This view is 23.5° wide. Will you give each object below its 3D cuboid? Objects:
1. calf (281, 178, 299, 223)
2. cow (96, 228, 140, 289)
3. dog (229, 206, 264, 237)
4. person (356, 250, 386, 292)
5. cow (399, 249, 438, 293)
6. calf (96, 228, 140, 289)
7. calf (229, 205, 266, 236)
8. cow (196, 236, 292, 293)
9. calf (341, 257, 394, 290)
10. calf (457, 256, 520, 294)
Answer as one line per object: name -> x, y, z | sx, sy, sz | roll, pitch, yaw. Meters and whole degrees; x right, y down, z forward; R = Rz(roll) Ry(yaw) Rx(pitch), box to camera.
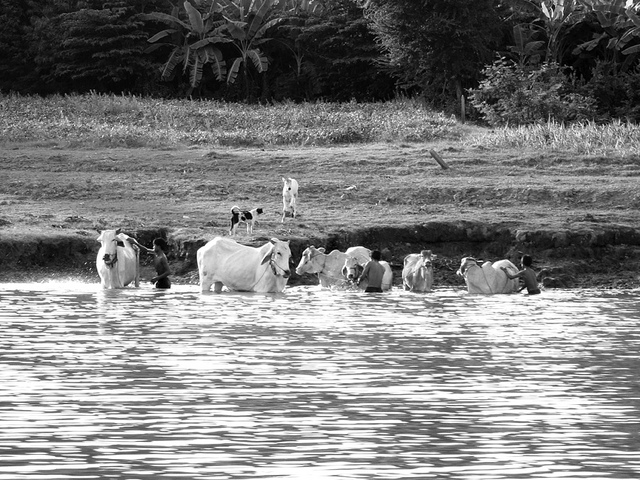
calf -> -0.852, -1.185, 47.009 | 0.461, 1.302, 1.011 | 1, 7, -2
cow -> -5.544, 0.798, 42.354 | 1.138, 1.716, 3.125 | -3, -6, 3
dog -> -2.153, -0.515, 45.478 | 0.915, 0.828, 1.071 | 2, 7, 5
person -> 1.500, 0.902, 42.208 | 0.732, 1.088, 0.483 | 2, 7, 2
cow -> 2.796, 0.826, 43.021 | 0.946, 1.280, 2.697 | 2, 7, 3
calf -> -5.421, 0.544, 41.653 | 0.935, 1.685, 1.620 | 6, 8, 30
calf -> -2.088, -0.549, 45.355 | 1.242, 0.809, 0.253 | -6, 6, -36
cow -> -2.008, 0.730, 42.018 | 2.529, 1.505, 0.543 | 2, 7, 7
calf -> 1.415, 0.914, 42.546 | 1.312, 0.893, 1.100 | -1, 8, 11
calf -> 4.650, 1.069, 41.975 | 1.607, 0.961, 1.255 | 1, 8, 9
